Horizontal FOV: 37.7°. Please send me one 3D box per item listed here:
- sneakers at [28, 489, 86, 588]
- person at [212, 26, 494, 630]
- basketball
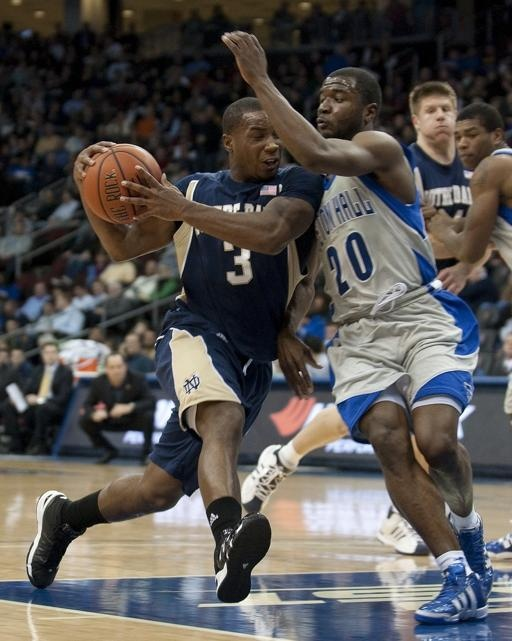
[{"bbox_3d":[-0.783,0.814,2.832,0.179,0.136,0.369,-25,34,33],"label":"sneakers"},{"bbox_3d":[0.511,-0.014,2.504,0.672,1.986,0.929,-14,15,-18],"label":"person"},{"bbox_3d":[-0.474,-0.448,2.604,0.251,0.239,0.228,-15,21,-10],"label":"basketball"}]
